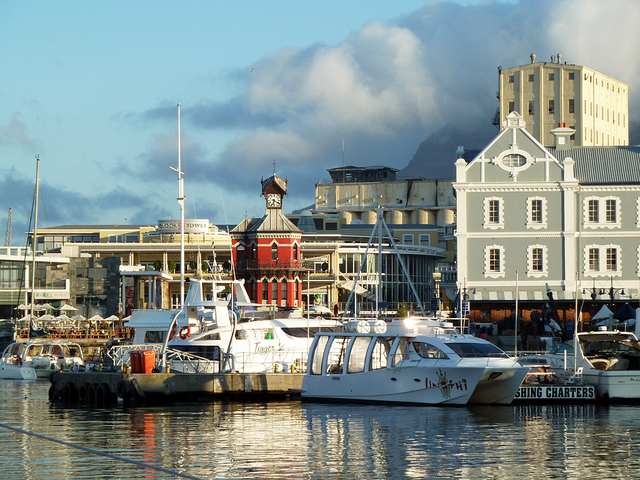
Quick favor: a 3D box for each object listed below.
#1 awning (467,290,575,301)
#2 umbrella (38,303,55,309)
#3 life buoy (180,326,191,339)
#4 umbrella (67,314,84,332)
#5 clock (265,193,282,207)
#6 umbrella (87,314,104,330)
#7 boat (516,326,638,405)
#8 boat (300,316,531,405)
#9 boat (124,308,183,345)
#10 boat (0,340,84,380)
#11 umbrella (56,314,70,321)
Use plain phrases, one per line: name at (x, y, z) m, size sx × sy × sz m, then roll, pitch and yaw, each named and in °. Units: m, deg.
awning at (15.202, 4.361, 129.294) m, size 6.176 × 0.859 × 0.555 m, roll -3°, pitch 3°, yaw 4°
umbrella at (-23.212, 5.716, 144.082) m, size 1.294 × 0.526 × 2.061 m, roll 0°, pitch -11°, yaw -6°
life buoy at (-8.471, 5.872, 107.294) m, size 0.678 × 0.694 × 0.189 m, roll 6°, pitch -14°, yaw 32°
umbrella at (-20.144, 7.044, 141.620) m, size 1.208 × 1.108 × 1.291 m, roll -4°, pitch 4°, yaw -40°
clock at (-3.826, -3.289, 143.247) m, size 1.324 × 1.160 × 0.426 m, roll -1°, pitch -10°, yaw -5°
umbrella at (-18.871, 6.796, 141.993) m, size 0.954 × 1.108 × 0.965 m, roll 1°, pitch -5°, yaw -7°
boat at (17.457, 8.067, 106.767) m, size 6.150 × 5.174 × 3.111 m, roll -10°, pitch -13°, yaw 40°
boat at (5.812, 7.657, 103.416) m, size 10.853 × 4.051 × 6.402 m, roll -2°, pitch -4°, yaw 36°
boat at (-10.737, 5.700, 111.621) m, size 3.449 × 2.391 × 2.377 m, roll 0°, pitch 2°, yaw 13°
boat at (-20.849, 8.985, 125.617) m, size 5.734 × 3.188 × 3.679 m, roll -2°, pitch -10°, yaw 2°
umbrella at (-21.395, 6.566, 141.265) m, size 1.086 × 0.551 × 1.454 m, roll 0°, pitch -11°, yaw -9°
